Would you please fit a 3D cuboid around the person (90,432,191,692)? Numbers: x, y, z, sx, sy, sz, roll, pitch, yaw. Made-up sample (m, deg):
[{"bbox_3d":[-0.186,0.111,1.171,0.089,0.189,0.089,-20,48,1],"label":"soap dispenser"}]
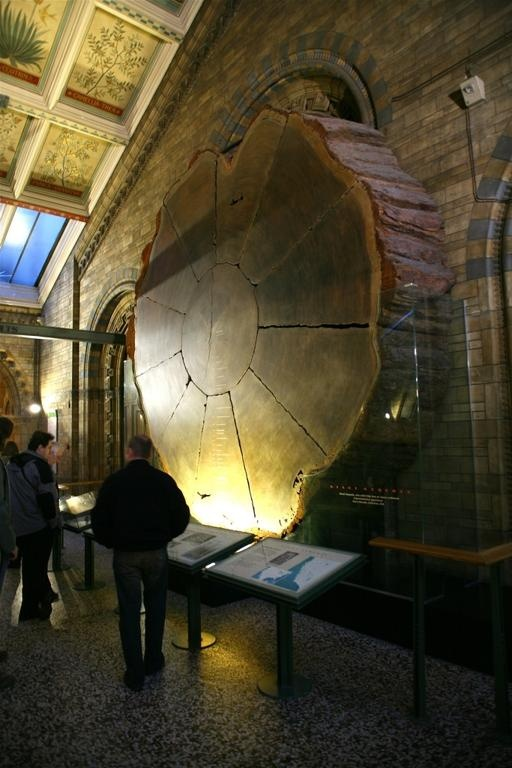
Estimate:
[{"bbox_3d":[-0.540,0.804,2.670,0.449,1.109,0.256,-1,-6,-18],"label":"person"}]
